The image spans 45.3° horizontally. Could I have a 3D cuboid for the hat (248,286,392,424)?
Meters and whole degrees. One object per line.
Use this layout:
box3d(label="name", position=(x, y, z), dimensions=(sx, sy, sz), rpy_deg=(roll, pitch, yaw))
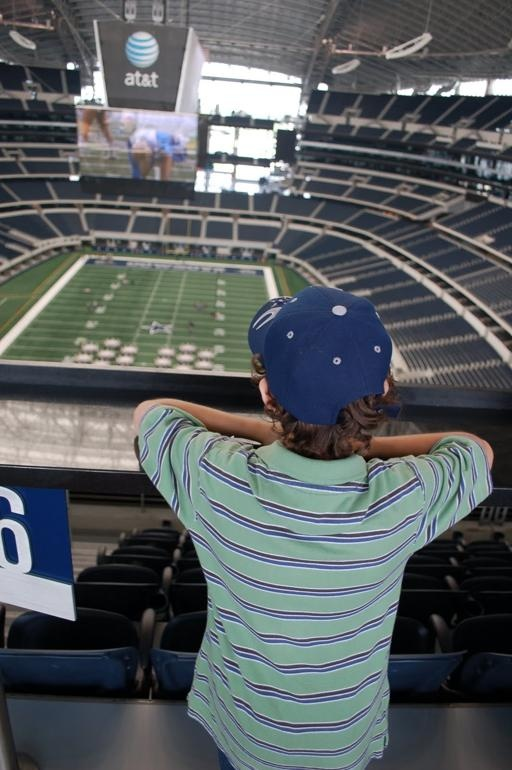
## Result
box3d(label="hat", position=(0.099, -0.038, 1.024), dimensions=(0.187, 0.132, 0.220), rpy_deg=(-10, 56, -9))
